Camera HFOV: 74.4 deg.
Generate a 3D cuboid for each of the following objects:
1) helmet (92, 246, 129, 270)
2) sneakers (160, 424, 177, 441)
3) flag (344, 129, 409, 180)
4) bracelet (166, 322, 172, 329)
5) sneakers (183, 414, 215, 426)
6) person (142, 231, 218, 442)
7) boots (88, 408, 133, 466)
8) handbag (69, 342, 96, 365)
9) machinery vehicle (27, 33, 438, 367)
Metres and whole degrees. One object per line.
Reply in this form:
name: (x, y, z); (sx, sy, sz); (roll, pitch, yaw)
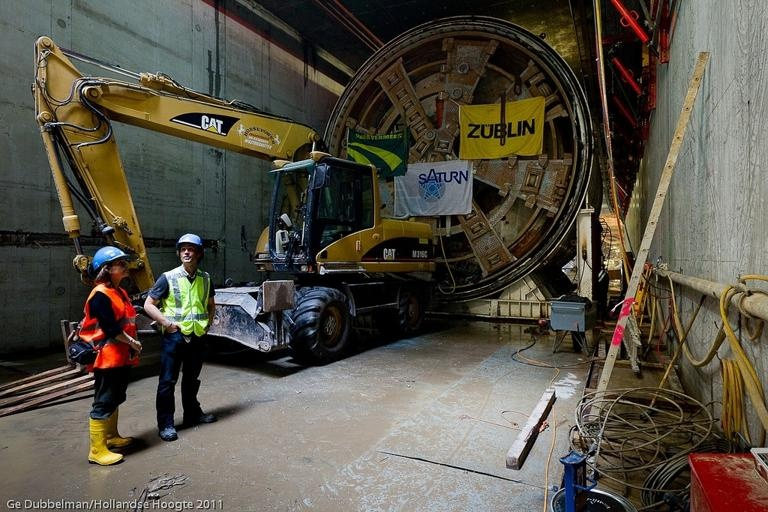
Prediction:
helmet: (-3.245, 0.006, 5.958); (0.377, 0.211, 0.270); (-23, 8, -29)
sneakers: (-2.648, 2.205, 6.238); (0.203, 0.153, 0.174); (-2, 5, -25)
flag: (-0.156, -2.534, 12.652); (2.021, 1.707, 0.170); (2, 4, 27)
bracelet: (-2.621, 0.867, 6.200); (0.060, 0.060, 0.059); (40, 35, 27)
sneakers: (-2.399, 2.157, 6.588); (0.346, 0.158, 0.164); (-3, 1, -12)
person: (-2.547, 1.186, 6.412); (0.795, 2.161, 0.530); (-3, 6, -27)
boots: (-3.186, 2.114, 6.032); (0.496, 0.610, 0.608); (1, -3, -15)
handbag: (-3.449, 1.111, 5.783); (0.372, 0.296, 0.167); (2, 6, 34)
machinery vehicle: (-2.280, -0.737, 9.399); (2.675, 4.590, 6.955); (0, 5, 37)
